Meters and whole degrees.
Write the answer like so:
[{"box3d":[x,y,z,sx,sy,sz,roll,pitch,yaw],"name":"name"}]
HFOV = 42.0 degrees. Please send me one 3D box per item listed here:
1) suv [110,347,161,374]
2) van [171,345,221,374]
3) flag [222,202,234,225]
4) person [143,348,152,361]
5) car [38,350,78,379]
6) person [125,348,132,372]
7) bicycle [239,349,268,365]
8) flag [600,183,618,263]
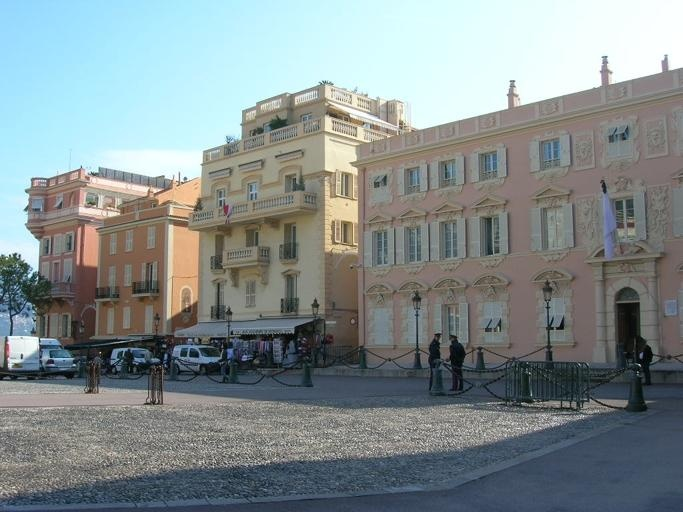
[{"box3d":[-11.698,5.621,49.810,2.349,1.820,9.744,1,-11,-15],"name":"suv"},{"box3d":[-7.692,5.546,48.430,1.619,1.179,2.904,8,-14,-42],"name":"van"},{"box3d":[-6.893,-2.555,54.210,0.252,1.803,1.404,-1,0,-36],"name":"flag"},{"box3d":[-11.057,5.633,51.129,0.445,0.824,0.465,-6,-6,19],"name":"person"},{"box3d":[-13.209,4.984,41.490,1.608,1.326,0.783,5,-12,-30],"name":"car"},{"box3d":[-11.632,5.668,48.891,0.388,1.315,1.874,1,-11,-12],"name":"person"},{"box3d":[-5.034,5.846,51.104,1.458,0.919,1.164,2,-11,-16],"name":"bicycle"},{"box3d":[11.441,-1.659,38.057,0.563,3.591,1.508,-4,-11,17],"name":"flag"}]
